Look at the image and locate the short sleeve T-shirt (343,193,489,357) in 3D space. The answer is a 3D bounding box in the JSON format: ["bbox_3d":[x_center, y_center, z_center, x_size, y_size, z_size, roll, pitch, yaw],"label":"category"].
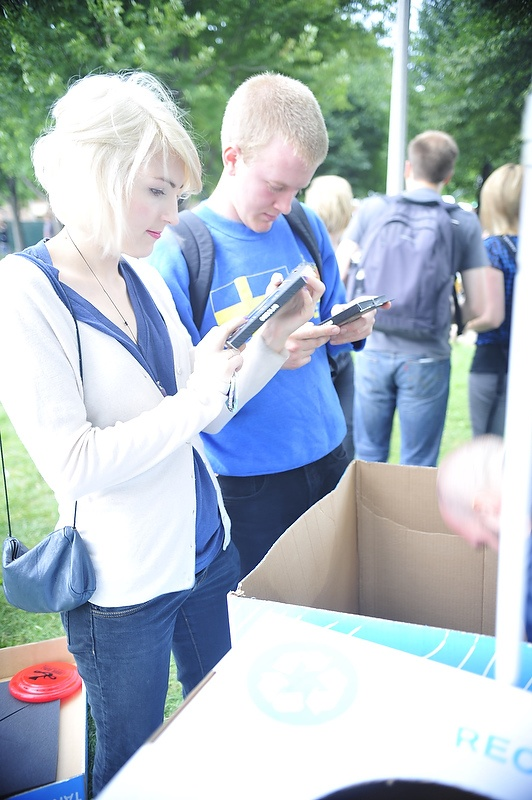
[{"bbox_3d":[0.757,-0.660,3.333,0.672,0.747,0.395,23,47,23],"label":"short sleeve T-shirt"}]
